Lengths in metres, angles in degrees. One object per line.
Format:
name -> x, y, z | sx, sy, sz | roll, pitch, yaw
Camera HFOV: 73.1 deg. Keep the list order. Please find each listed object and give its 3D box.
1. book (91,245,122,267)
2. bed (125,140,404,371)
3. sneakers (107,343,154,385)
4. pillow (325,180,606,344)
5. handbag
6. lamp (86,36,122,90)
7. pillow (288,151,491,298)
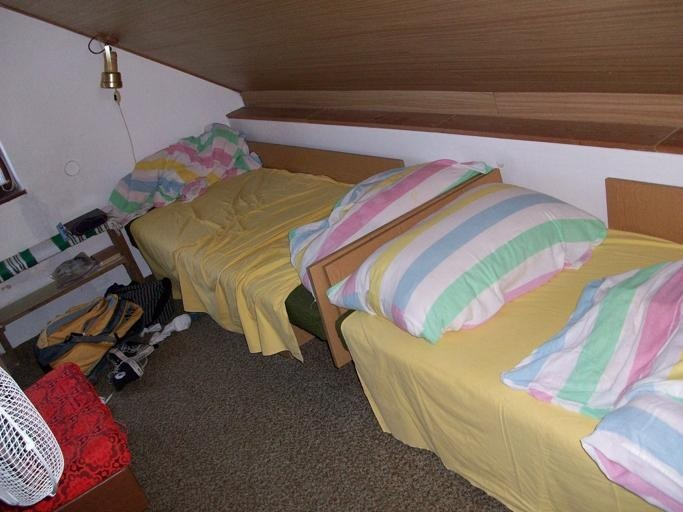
book -> -1.693, -0.008, 3.343 | 0.175, 0.040, 0.154 | -22, 45, -14
bed -> -0.263, -0.187, 2.946 | 1.380, 0.685, 1.542 | 26, 46, 33
sneakers -> -1.214, 0.612, 2.662 | 0.105, 0.155, 0.267 | -20, 19, -7
pillow -> 0.517, -0.026, 1.869 | 1.079, 0.240, 0.686 | -23, 29, -20
handbag -> -1.493, 0.541, 2.850 | 0.436, 0.205, 0.565 | 33, 47, 23
lamp -> -1.554, -1.279, 3.042 | 0.177, 0.356, 0.583 | -17, 26, -20
pillow -> 0.281, -0.075, 2.272 | 0.776, 0.227, 0.680 | -36, 33, -6
